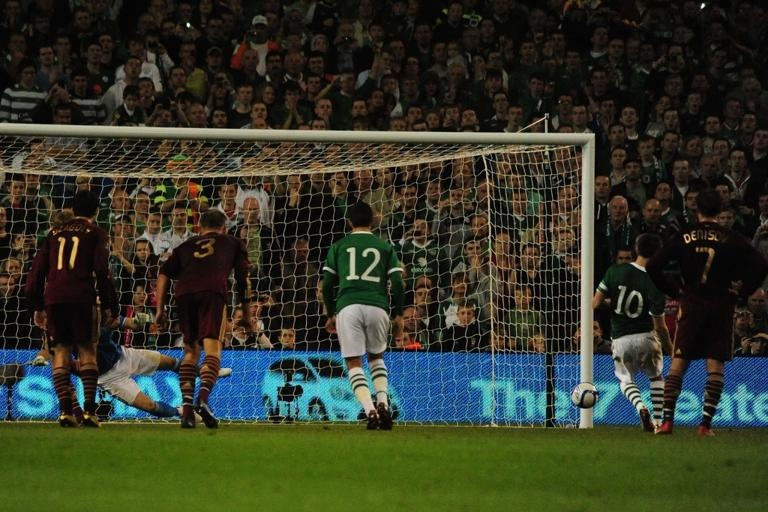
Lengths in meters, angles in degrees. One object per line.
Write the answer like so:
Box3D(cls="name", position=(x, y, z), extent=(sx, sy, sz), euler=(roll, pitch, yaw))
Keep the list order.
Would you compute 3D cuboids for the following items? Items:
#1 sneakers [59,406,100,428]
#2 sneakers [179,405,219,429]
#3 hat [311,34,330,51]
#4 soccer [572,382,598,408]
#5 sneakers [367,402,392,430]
Box3D(cls="sneakers", position=(-3.845, 1.981, 14.944), extent=(0.628, 0.267, 0.220), euler=(2, -7, -23))
Box3D(cls="sneakers", position=(-2.309, 1.967, 15.140), extent=(0.587, 0.212, 0.259), euler=(11, 3, 0))
Box3D(cls="hat", position=(-1.130, -3.768, 21.504), extent=(0.237, 0.307, 0.300), euler=(-2, 22, -12))
Box3D(cls="soccer", position=(2.641, 1.821, 15.857), extent=(0.311, 0.335, 0.224), euler=(-1, 1, 10))
Box3D(cls="sneakers", position=(-0.043, 1.962, 14.964), extent=(0.208, 0.180, 0.373), euler=(1, -31, 0))
